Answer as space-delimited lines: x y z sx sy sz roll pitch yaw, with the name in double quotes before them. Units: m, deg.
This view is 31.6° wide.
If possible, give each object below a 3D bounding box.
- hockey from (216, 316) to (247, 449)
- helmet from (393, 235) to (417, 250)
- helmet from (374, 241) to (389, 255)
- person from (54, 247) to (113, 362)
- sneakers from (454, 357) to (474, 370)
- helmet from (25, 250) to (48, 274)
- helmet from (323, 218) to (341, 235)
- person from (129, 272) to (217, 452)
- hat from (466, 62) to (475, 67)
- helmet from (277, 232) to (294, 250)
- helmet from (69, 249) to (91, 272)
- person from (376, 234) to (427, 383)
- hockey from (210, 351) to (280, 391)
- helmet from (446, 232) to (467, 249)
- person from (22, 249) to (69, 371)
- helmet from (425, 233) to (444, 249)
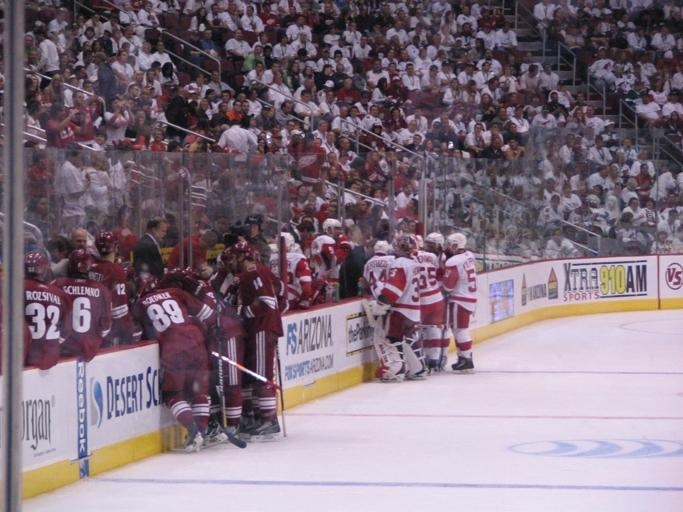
"hockey" -1.373 1.445 14.434 0.368 1.525 0.357 -11 0 -14
"helmet" 0.928 -0.218 17.234 0.220 0.243 0.201 4 48 -2
"helmet" 0.567 -0.151 17.211 0.197 0.210 0.251 -1 12 -5
"person" -2.926 0.480 13.669 0.676 1.198 0.793 1 13 -10
"sneakers" 1.795 1.563 17.811 0.258 0.188 0.172 3 3 14
"helmet" -3.324 0.051 13.102 0.235 0.190 0.219 -7 -22 -22
"helmet" -0.135 -0.450 17.057 0.230 0.200 0.173 -6 25 -6
"person" -1.911 1.286 14.065 0.828 1.752 0.661 -1 11 -5
"hat" 2.711 -4.077 25.553 0.161 0.082 0.140 10 15 41
"helmet" -0.729 -0.223 16.089 0.158 0.198 0.202 7 10 44
"helmet" -2.918 0.031 13.465 0.184 0.264 0.233 0 7 -10
"person" 0.849 0.751 17.195 0.405 2.089 0.900 10 15 40
"hockey" -1.193 1.350 14.469 0.873 0.079 0.102 30 -9 -20
"helmet" 1.730 -0.246 18.200 0.257 0.213 0.203 21 8 7
"person" -3.181 0.572 13.001 0.458 1.179 0.480 -2 12 -11
"helmet" 1.395 -0.294 18.183 0.233 0.242 0.192 -2 39 17
